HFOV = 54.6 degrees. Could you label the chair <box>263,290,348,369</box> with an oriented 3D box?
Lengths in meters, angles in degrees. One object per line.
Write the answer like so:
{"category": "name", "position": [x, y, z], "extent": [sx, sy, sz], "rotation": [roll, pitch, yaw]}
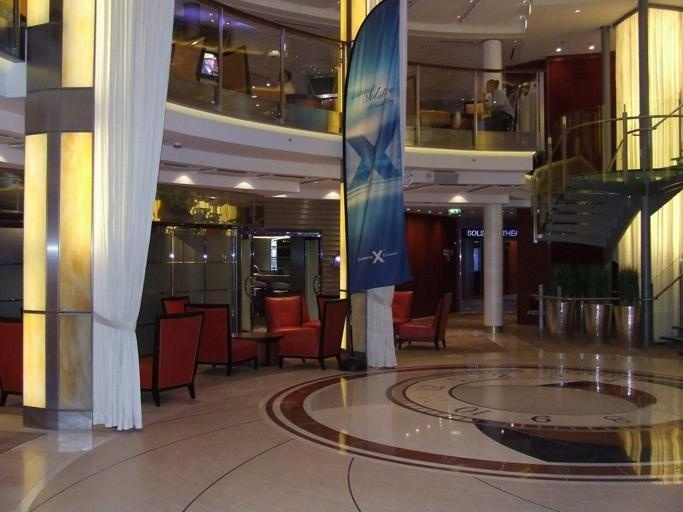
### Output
{"category": "chair", "position": [-0.577, 1.321, 11.702], "extent": [1.164, 1.119, 1.267], "rotation": [-3, -10, 18]}

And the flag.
{"category": "flag", "position": [0.509, -1.648, 10.126], "extent": [0.463, 4.419, 1.499], "rotation": [-2, 4, -31]}

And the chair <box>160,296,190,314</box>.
{"category": "chair", "position": [-2.889, 0.842, 11.547], "extent": [0.337, 0.526, 0.393], "rotation": [1, -1, -40]}

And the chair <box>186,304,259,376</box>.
{"category": "chair", "position": [-1.917, 1.335, 10.922], "extent": [0.720, 1.148, 0.863], "rotation": [0, -1, 28]}

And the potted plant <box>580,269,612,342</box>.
{"category": "potted plant", "position": [5.337, 0.986, 13.801], "extent": [0.543, 1.489, 0.681], "rotation": [1, 4, 20]}

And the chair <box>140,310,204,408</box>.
{"category": "chair", "position": [-2.407, 1.357, 9.073], "extent": [0.948, 1.167, 0.893], "rotation": [0, 0, 21]}

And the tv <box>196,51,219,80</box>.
{"category": "tv", "position": [-1.878, -2.767, 9.668], "extent": [0.345, 0.381, 0.382], "rotation": [8, 3, 1]}

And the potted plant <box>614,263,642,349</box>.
{"category": "potted plant", "position": [5.713, 0.999, 13.136], "extent": [0.506, 1.510, 0.485], "rotation": [1, 4, 24]}

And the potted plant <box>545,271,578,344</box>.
{"category": "potted plant", "position": [4.805, 1.032, 14.434], "extent": [0.673, 1.526, 0.703], "rotation": [-2, 4, -2]}

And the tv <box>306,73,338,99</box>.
{"category": "tv", "position": [-0.281, -2.805, 10.903], "extent": [0.413, 0.414, 0.097], "rotation": [-6, 6, -29]}
